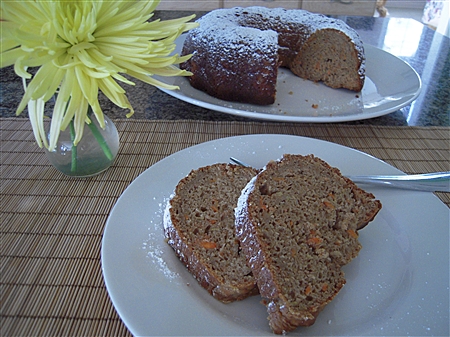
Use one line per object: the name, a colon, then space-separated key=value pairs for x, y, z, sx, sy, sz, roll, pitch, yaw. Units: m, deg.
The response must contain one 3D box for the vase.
vase: x=-0.441 y=-0.052 z=1.094 sx=0.246 sy=0.243 sz=0.185 roll=4 pitch=81 yaw=-42
